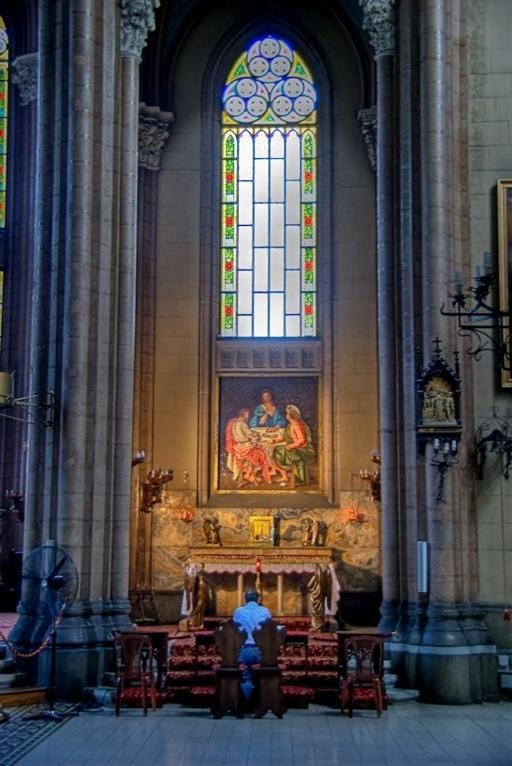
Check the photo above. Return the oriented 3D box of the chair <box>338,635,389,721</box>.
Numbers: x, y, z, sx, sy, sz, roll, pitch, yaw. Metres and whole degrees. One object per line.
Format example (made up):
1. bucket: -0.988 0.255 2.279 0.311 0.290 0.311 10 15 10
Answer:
1. chair: 1.222 3.291 12.299 0.610 0.900 0.619 -3 -8 8

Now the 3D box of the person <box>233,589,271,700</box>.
1. person: -0.048 2.976 12.207 0.422 1.199 1.013 -1 -8 0

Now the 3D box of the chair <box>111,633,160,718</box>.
1. chair: -1.382 3.284 12.177 0.541 0.857 0.527 -6 -15 22

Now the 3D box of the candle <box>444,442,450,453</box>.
1. candle: 2.413 0.798 13.574 0.079 0.142 0.079 0 -3 7

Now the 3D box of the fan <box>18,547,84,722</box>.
1. fan: -2.378 2.813 12.479 0.607 1.917 1.851 1 -8 -11

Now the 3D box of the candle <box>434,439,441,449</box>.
1. candle: 2.281 0.755 13.530 0.080 0.139 0.048 5 -10 -35
